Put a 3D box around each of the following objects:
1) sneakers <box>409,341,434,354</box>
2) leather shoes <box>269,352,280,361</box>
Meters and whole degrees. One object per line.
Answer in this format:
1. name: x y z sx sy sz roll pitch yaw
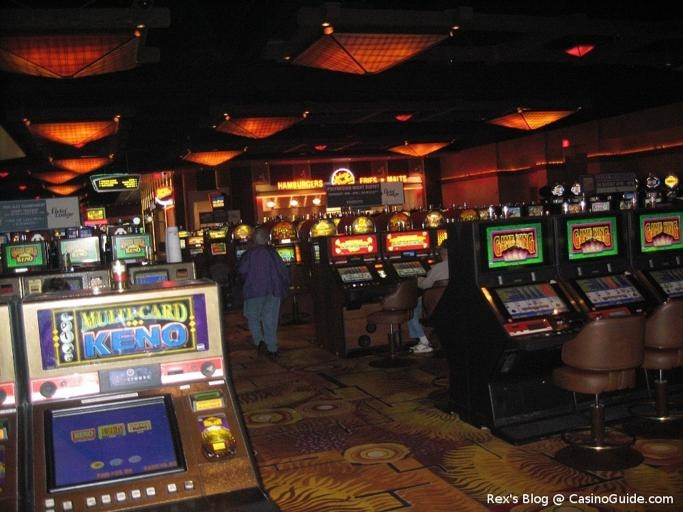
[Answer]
1. sneakers: 1.003 1.164 6.808 0.311 0.089 0.117 1 -1 -7
2. leather shoes: -0.854 1.258 6.811 0.132 0.102 0.110 4 13 10
